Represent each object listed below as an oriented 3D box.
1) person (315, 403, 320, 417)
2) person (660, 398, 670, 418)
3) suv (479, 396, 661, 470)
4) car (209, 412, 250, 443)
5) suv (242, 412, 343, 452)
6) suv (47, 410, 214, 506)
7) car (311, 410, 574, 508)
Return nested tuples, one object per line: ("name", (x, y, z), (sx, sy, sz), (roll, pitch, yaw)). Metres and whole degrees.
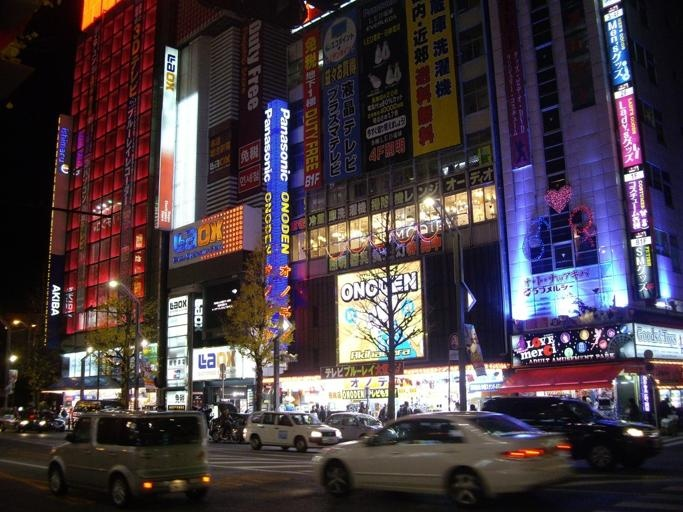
("person", (-1.552, 10.646, 46.893), (0.430, 0.810, 0.570), (-3, -7, 15))
("person", (17.121, 7.951, 35.489), (0.582, 0.955, 1.178), (-10, -17, 24))
("suv", (8.029, 5.937, 23.548), (5.456, 2.020, 2.584), (-7, -10, 27))
("car", (-6.256, 10.197, 40.176), (3.109, 1.740, 1.566), (-11, -22, 42))
("suv", (-2.318, 8.573, 32.897), (4.207, 1.474, 2.065), (-14, -19, 39))
("suv", (-6.205, 5.874, 19.761), (4.433, 2.699, 1.528), (-9, -16, 20))
("car", (2.878, 5.528, 18.697), (5.690, 1.924, 2.836), (-4, -12, 27))
